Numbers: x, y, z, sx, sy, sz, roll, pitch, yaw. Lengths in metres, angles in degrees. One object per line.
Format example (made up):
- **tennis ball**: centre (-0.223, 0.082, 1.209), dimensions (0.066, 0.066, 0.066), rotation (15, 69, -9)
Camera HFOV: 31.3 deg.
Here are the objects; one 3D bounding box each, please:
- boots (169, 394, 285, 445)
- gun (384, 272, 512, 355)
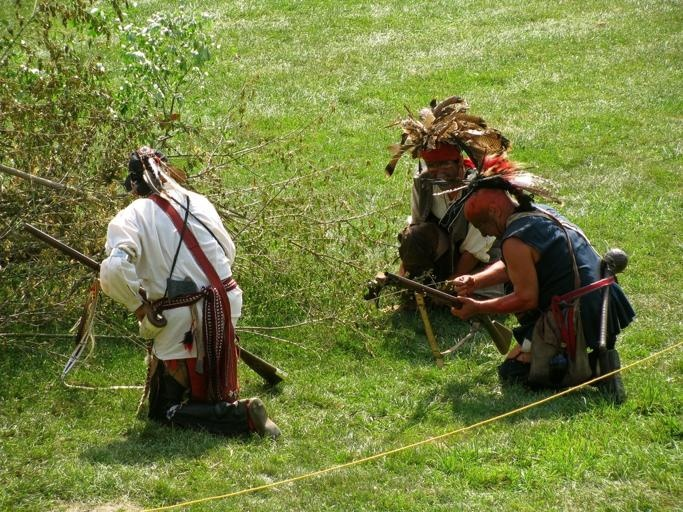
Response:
- **boots**: centre (-1.146, 1.707, 12.858), dimensions (1.080, 0.368, 0.673), rotation (-1, -14, 32)
- **gun**: centre (1.253, 0.667, 13.955), dimensions (2.320, 0.564, 0.277), rotation (15, 16, -26)
